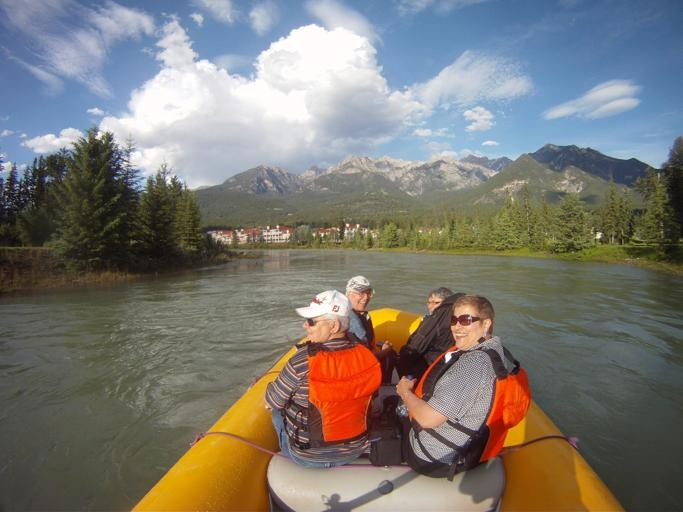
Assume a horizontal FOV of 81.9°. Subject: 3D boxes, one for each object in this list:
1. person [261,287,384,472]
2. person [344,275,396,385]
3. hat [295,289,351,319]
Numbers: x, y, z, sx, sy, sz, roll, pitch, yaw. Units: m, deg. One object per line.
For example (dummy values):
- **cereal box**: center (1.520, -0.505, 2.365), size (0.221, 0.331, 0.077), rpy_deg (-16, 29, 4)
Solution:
- **person**: center (-0.171, 1.297, 4.214), size (1.222, 1.843, 0.423), rpy_deg (-3, 2, 3)
- **person**: center (0.484, 1.145, 5.928), size (0.839, 1.657, 0.777), rpy_deg (-5, 3, 27)
- **hat**: center (-0.189, 0.530, 4.377), size (0.473, 0.257, 0.319), rpy_deg (3, -6, -5)
